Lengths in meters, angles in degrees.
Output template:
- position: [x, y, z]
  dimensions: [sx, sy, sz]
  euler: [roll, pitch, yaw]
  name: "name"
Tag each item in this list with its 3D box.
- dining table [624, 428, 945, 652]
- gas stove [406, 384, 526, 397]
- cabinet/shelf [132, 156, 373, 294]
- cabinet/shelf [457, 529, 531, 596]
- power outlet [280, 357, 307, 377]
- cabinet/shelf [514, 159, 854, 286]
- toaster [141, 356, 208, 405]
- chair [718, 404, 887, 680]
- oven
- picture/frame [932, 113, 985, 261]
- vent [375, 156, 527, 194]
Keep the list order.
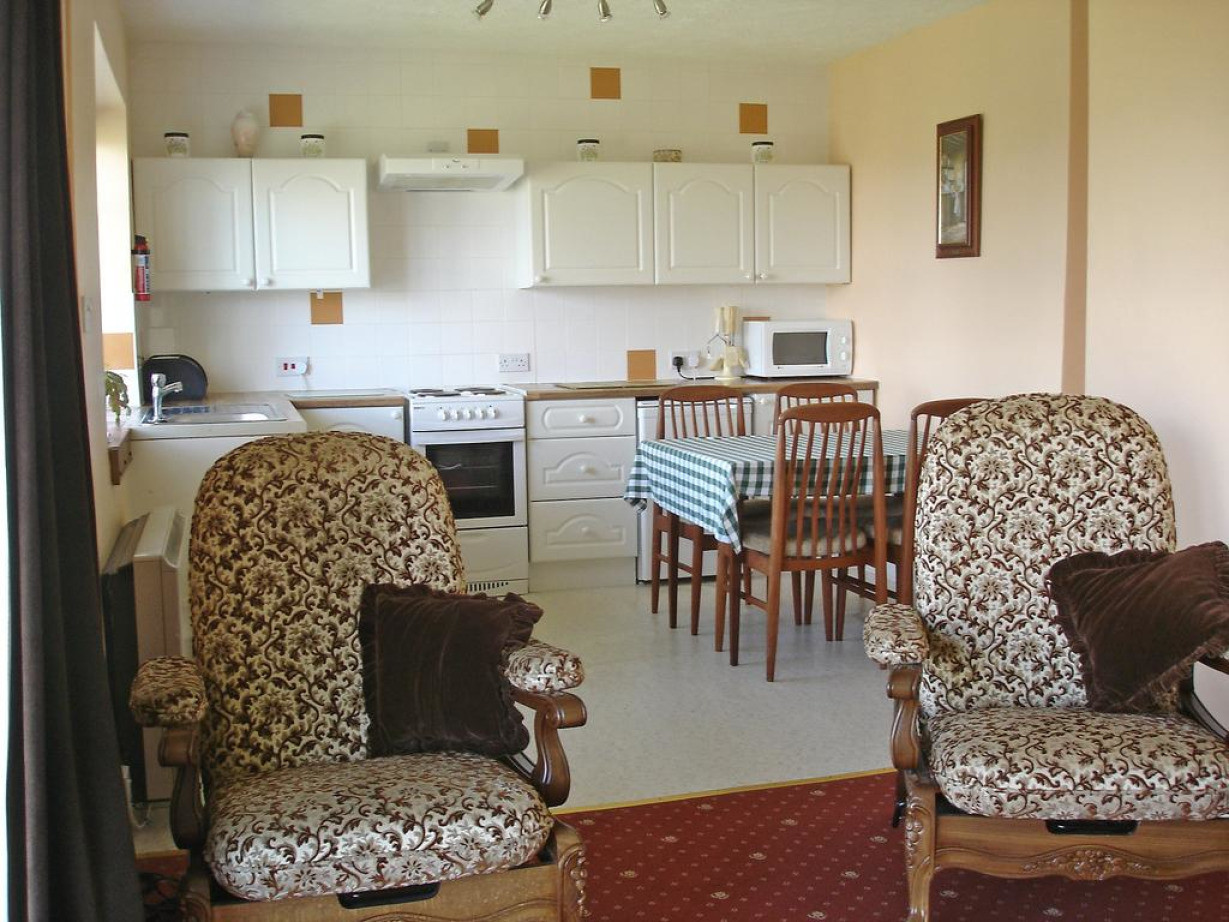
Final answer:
- position: [0.731, 0.267, 4.018]
  dimensions: [0.558, 0.940, 0.631]
  euler: [-2, 4, -10]
  name: "dining table"
- position: [-0.726, -0.344, 5.007]
  dimensions: [0.523, 0.022, 0.533]
  euler: [-4, 10, -12]
  name: "gas stove"
- position: [-1.712, -1.084, 4.765]
  dimensions: [1.073, 0.576, 0.348]
  euler: [-10, 24, -38]
  name: "cabinet/shelf"
- position: [-0.567, 0.422, 4.932]
  dimensions: [0.429, 0.375, 0.291]
  euler: [-1, 1, -20]
  name: "cabinet/shelf"
- position: [-1.559, -0.453, 5.027]
  dimensions: [0.163, 0.085, 0.109]
  euler: [1, -1, -12]
  name: "power outlet"
- position: [0.392, -1.202, 5.385]
  dimensions: [1.721, 0.586, 0.471]
  euler: [-2, 5, -10]
  name: "cabinet/shelf"
- position: [-1.940, -0.354, 4.533]
  dimensions: [0.291, 0.189, 0.149]
  euler: [-1, 10, -14]
  name: "toaster"
- position: [0.717, 0.246, 3.997]
  dimensions: [0.657, 1.013, 0.799]
  euler: [0, 11, 12]
  name: "chair"
- position: [-0.764, 0.058, 4.950]
  dimensions: [0.648, 0.686, 0.565]
  euler: [-2, -2, -12]
  name: "oven"
- position: [1.501, -1.185, 4.494]
  dimensions: [0.071, 0.598, 0.301]
  euler: [-6, 12, -15]
  name: "picture/frame"
- position: [-0.767, -1.371, 4.914]
  dimensions: [0.699, 0.140, 0.450]
  euler: [-4, 10, -13]
  name: "vent"
